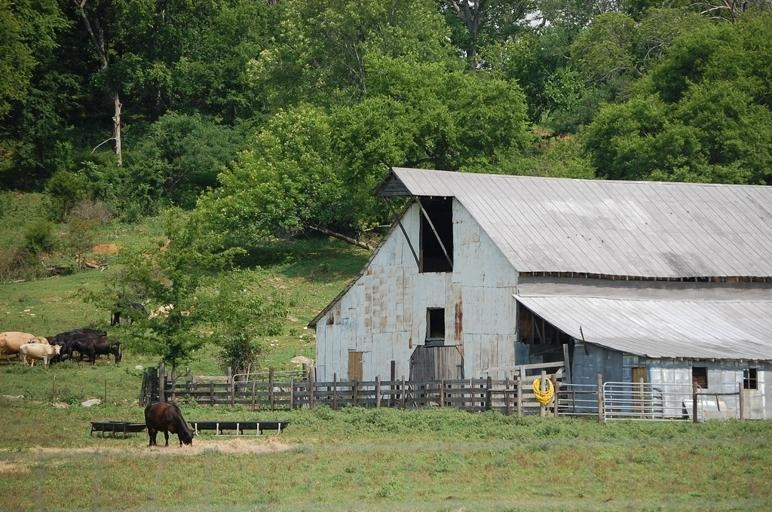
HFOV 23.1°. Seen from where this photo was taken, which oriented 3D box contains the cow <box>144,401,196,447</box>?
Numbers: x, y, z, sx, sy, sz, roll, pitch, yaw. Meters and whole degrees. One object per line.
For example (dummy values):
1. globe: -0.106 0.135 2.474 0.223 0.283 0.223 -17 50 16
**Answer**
1. cow: -14.714 11.315 125.798 1.725 3.000 5.367 -3 5 -40
